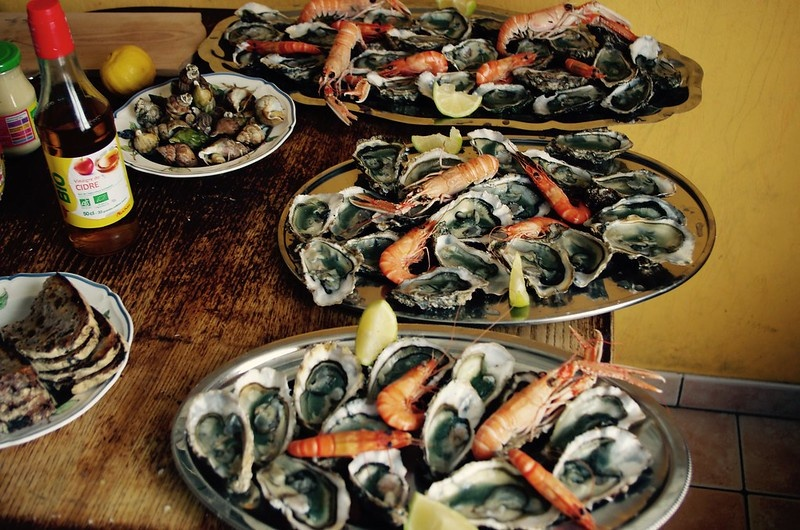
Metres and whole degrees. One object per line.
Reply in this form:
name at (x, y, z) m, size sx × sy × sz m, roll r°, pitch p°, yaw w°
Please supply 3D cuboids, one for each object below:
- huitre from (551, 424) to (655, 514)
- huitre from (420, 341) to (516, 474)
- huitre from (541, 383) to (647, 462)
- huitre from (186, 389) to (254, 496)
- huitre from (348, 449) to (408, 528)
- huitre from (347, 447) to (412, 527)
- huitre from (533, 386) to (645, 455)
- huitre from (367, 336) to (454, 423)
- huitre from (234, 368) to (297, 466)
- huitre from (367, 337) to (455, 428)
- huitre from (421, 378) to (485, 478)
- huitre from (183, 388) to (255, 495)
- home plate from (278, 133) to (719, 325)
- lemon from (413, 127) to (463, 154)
huitre at (0.425, 0.438, 1.427) m, size 0.220 × 0.052 × 0.151 m, roll -18°, pitch 63°, yaw -11°
huitre at (0.155, 0.305, 1.509) m, size 0.150 × 0.080 × 0.340 m, roll 23°, pitch 67°, yaw 10°
huitre at (0.437, 0.366, 1.492) m, size 0.246 × 0.071 × 0.126 m, roll -41°, pitch 70°, yaw -19°
huitre at (-0.385, 0.406, 1.487) m, size 0.139 × 0.082 × 0.221 m, roll -26°, pitch 68°, yaw -6°
huitre at (-0.039, 0.473, 1.405) m, size 0.115 × 0.051 × 0.146 m, roll -12°, pitch 49°, yaw -15°
huitre at (-0.040, 0.472, 1.405) m, size 0.116 × 0.052 × 0.147 m, roll -12°, pitch 49°, yaw -15°
huitre at (0.443, 0.359, 1.489) m, size 0.073 × 0.264 × 0.124 m, roll 35°, pitch 36°, yaw -24°
huitre at (0.017, 0.284, 1.522) m, size 0.180 × 0.055 × 0.231 m, roll 15°, pitch 54°, yaw 14°
huitre at (-0.290, 0.340, 1.438) m, size 0.163 × 0.056 × 0.188 m, roll -21°, pitch 70°, yaw -8°
huitre at (0.016, 0.261, 1.534) m, size 0.166 × 0.056 × 0.213 m, roll 26°, pitch 62°, yaw 19°
huitre at (0.119, 0.353, 1.469) m, size 0.147 × 0.069 × 0.231 m, roll 12°, pitch 27°, yaw 10°
huitre at (-0.394, 0.392, 1.423) m, size 0.141 × 0.077 × 0.223 m, roll -14°, pitch 61°, yaw -26°
home plate at (0.280, -0.116, 1.855) m, size 1.247 × 0.150 × 0.679 m, roll 1°, pitch 50°, yaw -6°
lemon at (0.114, -0.383, 2.064) m, size 0.114 × 0.041 × 0.099 m, roll -3°, pitch 18°, yaw 12°
